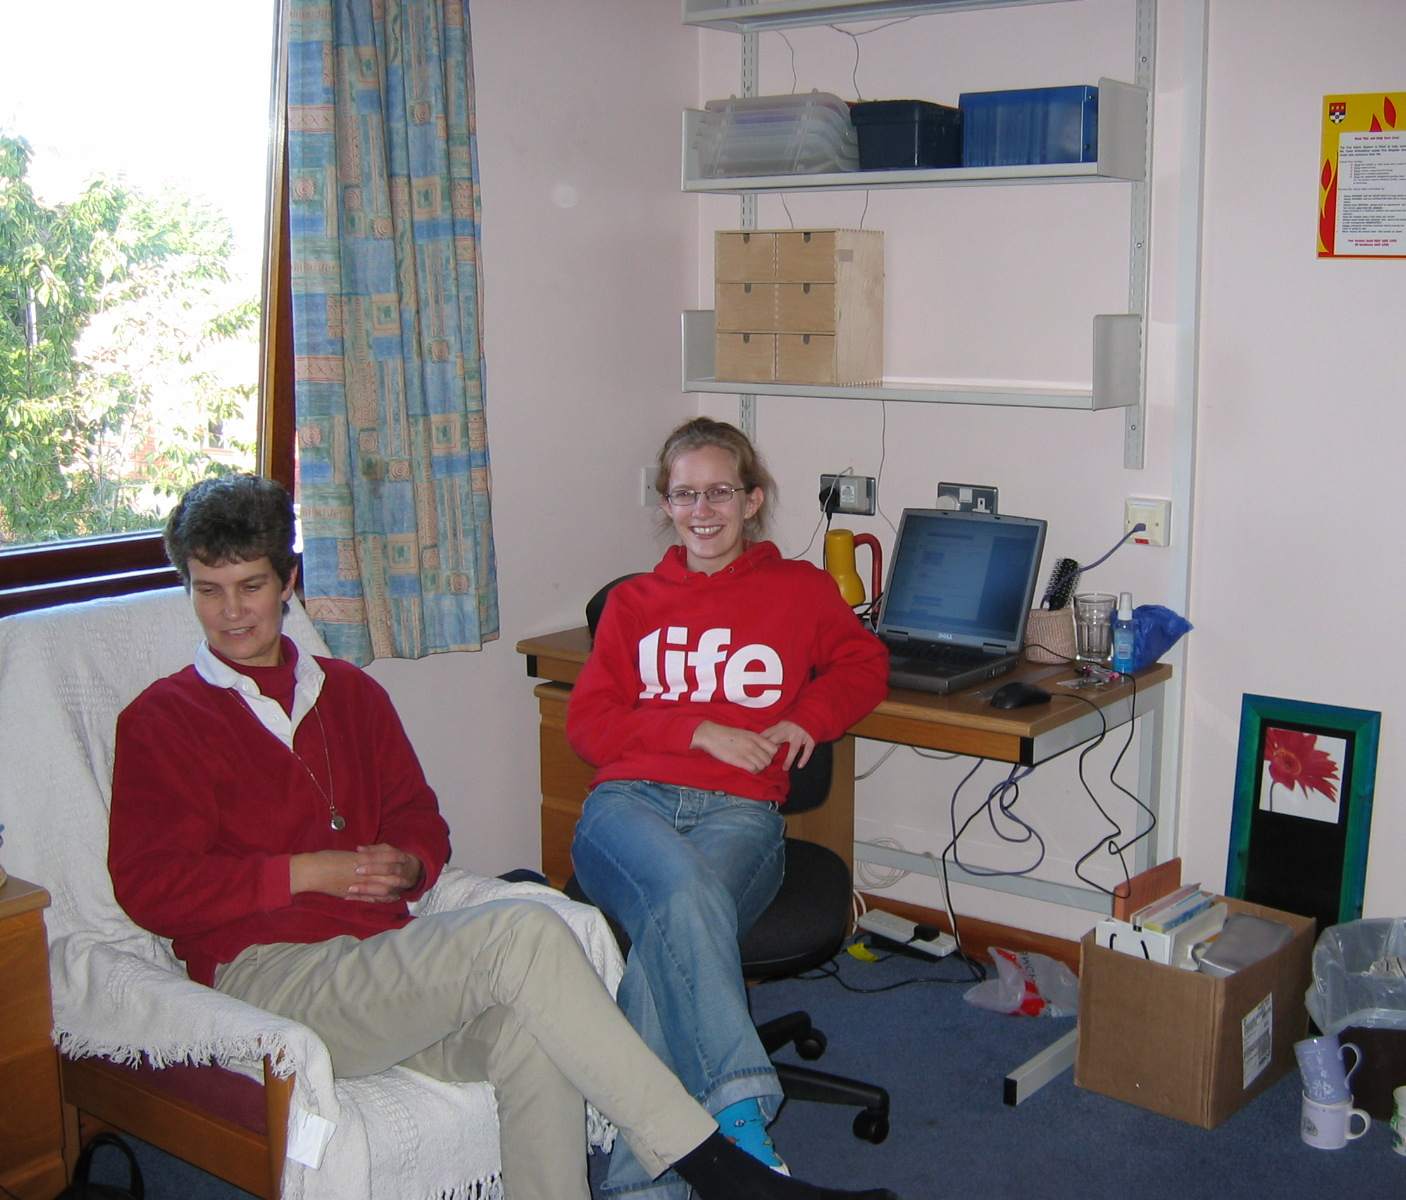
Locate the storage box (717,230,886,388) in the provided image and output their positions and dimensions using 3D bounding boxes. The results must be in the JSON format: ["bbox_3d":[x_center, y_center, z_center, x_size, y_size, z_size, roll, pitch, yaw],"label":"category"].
[{"bbox_3d":[0.264,-0.664,3.215,0.461,0.528,0.365,4,7,30],"label":"storage box"}]

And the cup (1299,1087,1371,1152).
[{"bbox_3d":[1.242,1.023,2.455,0.133,0.101,0.082,3,6,40],"label":"cup"}]

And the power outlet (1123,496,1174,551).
[{"bbox_3d":[1.047,-0.196,2.969,0.092,0.146,0.128,-6,8,-42],"label":"power outlet"}]

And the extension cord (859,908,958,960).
[{"bbox_3d":[0.528,0.868,3.238,0.185,0.050,0.105,15,16,32],"label":"extension cord"}]

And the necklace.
[{"bbox_3d":[-0.648,0.260,2.037,0.093,0.009,0.298,-10,59,-42],"label":"necklace"}]

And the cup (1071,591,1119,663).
[{"bbox_3d":[0.913,0.060,2.882,0.095,0.147,0.198,3,11,17],"label":"cup"}]

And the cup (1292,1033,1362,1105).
[{"bbox_3d":[1.246,0.916,2.427,0.145,0.161,0.101,-4,-13,14],"label":"cup"}]

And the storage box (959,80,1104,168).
[{"bbox_3d":[0.710,-1.027,2.694,0.323,0.173,0.046,8,13,39],"label":"storage box"}]

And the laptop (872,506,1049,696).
[{"bbox_3d":[0.583,-0.019,2.896,0.360,0.378,0.399,9,20,34],"label":"laptop"}]

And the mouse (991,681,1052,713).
[{"bbox_3d":[0.654,0.195,2.550,0.153,0.038,0.080,-10,14,-42],"label":"mouse"}]

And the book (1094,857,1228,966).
[{"bbox_3d":[0.975,0.660,2.611,0.227,0.084,0.161,-10,11,-43],"label":"book"}]

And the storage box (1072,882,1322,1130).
[{"bbox_3d":[1.040,0.833,2.621,0.306,0.324,0.449,5,8,40],"label":"storage box"}]

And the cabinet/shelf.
[{"bbox_3d":[0.562,-0.888,2.999,1.102,1.253,0.376,3,6,31],"label":"cabinet/shelf"}]

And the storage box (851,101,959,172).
[{"bbox_3d":[0.486,-1.042,2.899,0.188,0.135,0.197,13,23,39],"label":"storage box"}]

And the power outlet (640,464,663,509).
[{"bbox_3d":[-0.141,-0.309,3.301,0.014,0.154,0.148,6,13,26],"label":"power outlet"}]
